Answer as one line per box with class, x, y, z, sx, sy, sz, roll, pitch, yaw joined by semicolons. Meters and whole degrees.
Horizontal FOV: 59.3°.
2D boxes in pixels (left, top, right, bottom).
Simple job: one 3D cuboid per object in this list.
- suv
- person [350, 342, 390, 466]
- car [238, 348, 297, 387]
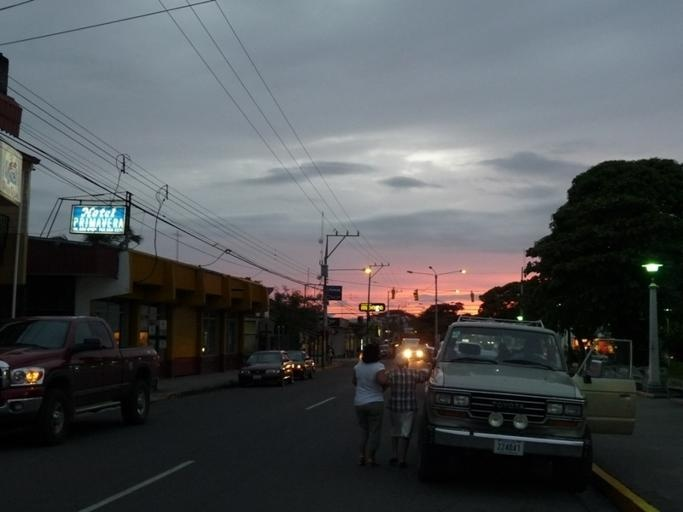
suv;2.556;2.238;9.697;2.162;1.562;3.055;1;-16;5
person;0.455;2.489;10.105;0.600;2.032;0.530;-6;-12;37
car;-3.652;5.347;28.847;2.055;1.624;2.480;0;-10;10
